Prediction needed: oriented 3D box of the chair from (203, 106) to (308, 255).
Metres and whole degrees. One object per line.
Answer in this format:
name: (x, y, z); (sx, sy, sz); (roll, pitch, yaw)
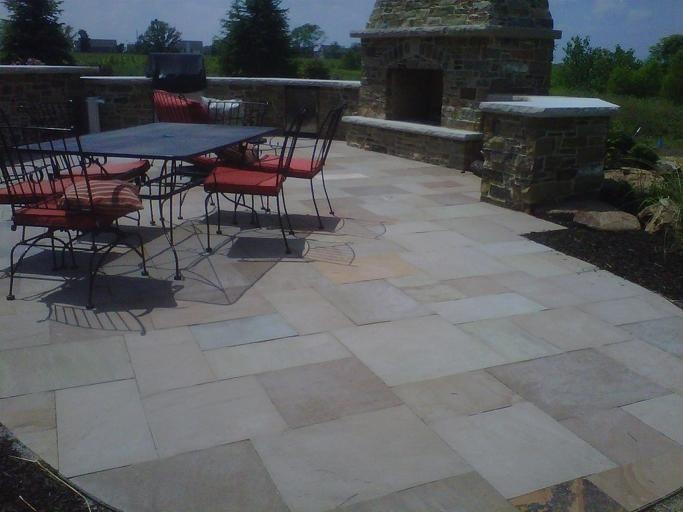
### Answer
chair: (-0.611, -0.773, 4.462); (0.510, 0.716, 0.560); (8, 27, 20)

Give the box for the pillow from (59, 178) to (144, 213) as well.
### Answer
pillow: (-1.542, -0.381, 3.406); (0.471, 0.106, 0.388); (-5, 19, -1)
